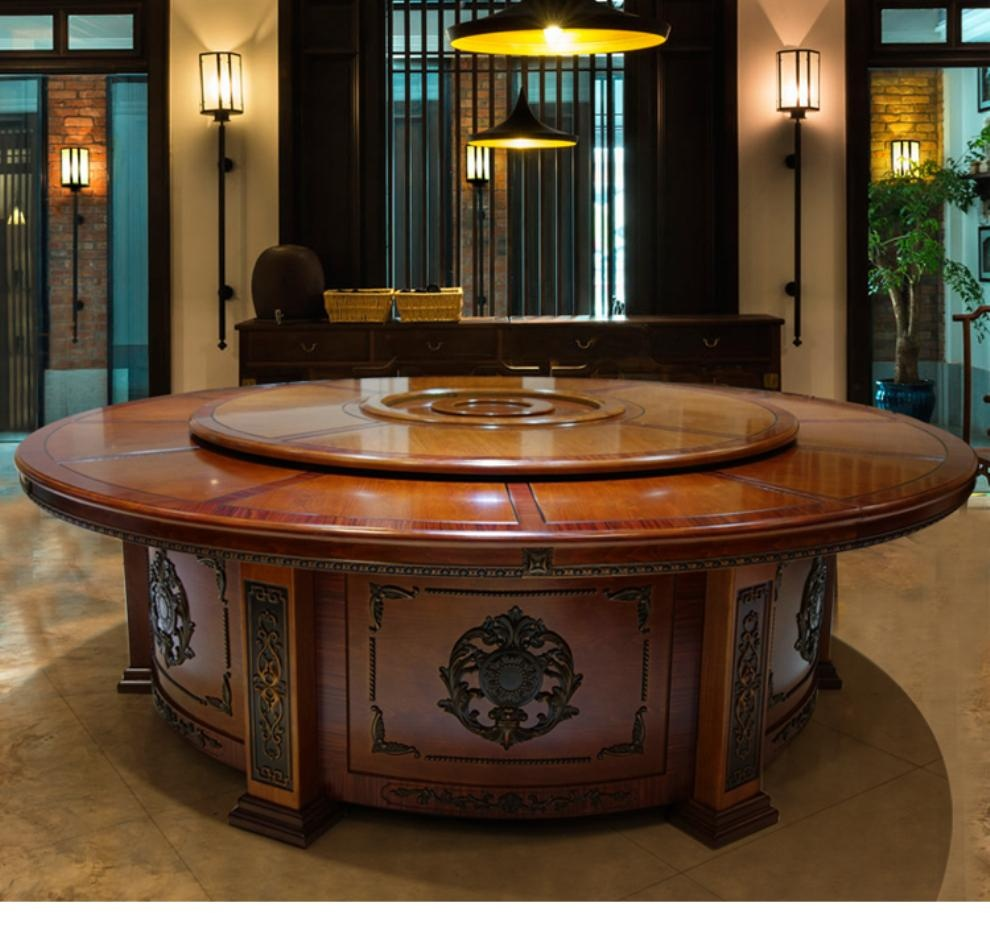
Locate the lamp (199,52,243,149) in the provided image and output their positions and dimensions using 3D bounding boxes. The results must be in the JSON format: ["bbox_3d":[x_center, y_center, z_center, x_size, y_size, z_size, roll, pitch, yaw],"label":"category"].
[{"bbox_3d":[-1.472,-1.982,5.249,0.239,0.413,0.280,-2,9,-14],"label":"lamp"}]

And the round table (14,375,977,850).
[{"bbox_3d":[-0.021,0.299,2.244,2.049,0.776,1.354,2,9,17],"label":"round table"}]

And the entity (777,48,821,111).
[{"bbox_3d":[1.596,-2.012,5.161,0.216,0.341,0.131,2,8,15],"label":"entity"}]

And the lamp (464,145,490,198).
[{"bbox_3d":[-0.099,-1.628,5.467,0.145,0.261,0.233,0,9,1],"label":"lamp"}]
